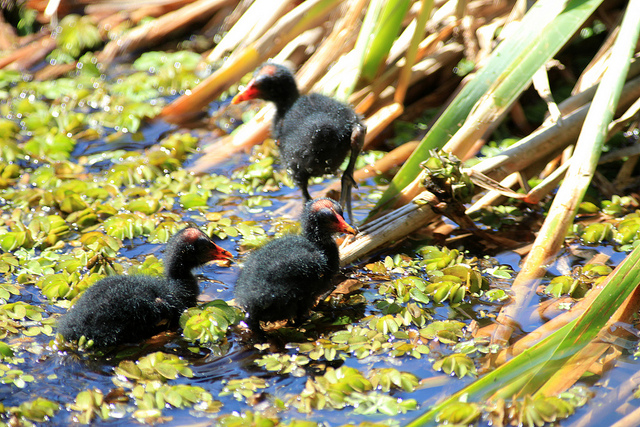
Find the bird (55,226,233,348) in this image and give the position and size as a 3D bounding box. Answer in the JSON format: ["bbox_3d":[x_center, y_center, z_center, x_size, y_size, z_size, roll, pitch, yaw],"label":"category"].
[{"bbox_3d":[-1.327,0.588,4.321,0.581,0.814,1.335,25,25,34],"label":"bird"}]

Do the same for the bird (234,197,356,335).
[{"bbox_3d":[-0.190,0.386,4.293,0.642,0.799,0.842,26,32,4],"label":"bird"}]
